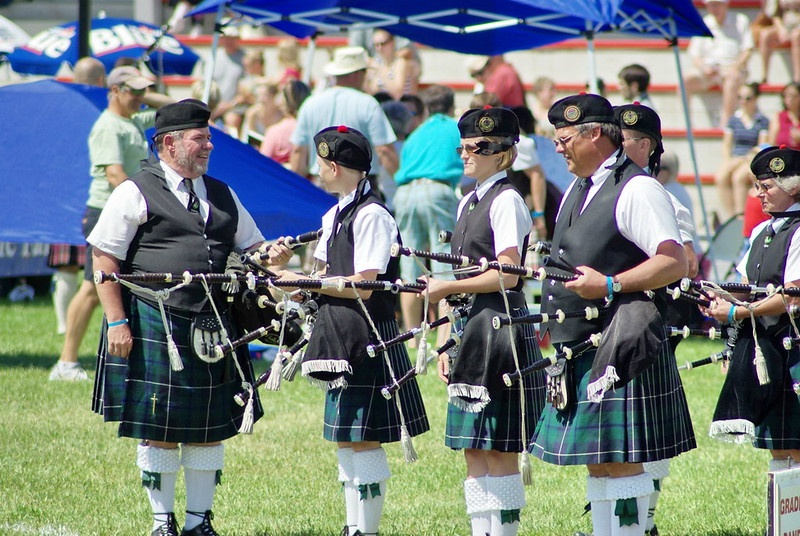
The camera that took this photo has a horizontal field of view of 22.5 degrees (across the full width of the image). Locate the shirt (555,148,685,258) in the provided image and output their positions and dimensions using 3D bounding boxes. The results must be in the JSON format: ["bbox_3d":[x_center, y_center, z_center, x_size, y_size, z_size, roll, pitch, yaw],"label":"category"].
[{"bbox_3d":[1.552,-0.434,14.180,0.348,0.676,0.757,6,6,-35],"label":"shirt"}]

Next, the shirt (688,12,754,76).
[{"bbox_3d":[3.432,-2.439,21.204,0.664,0.680,0.264,1,-12,-5],"label":"shirt"}]

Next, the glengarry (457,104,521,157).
[{"bbox_3d":[0.657,-0.995,14.479,0.363,0.270,0.338,-5,-7,-37],"label":"glengarry"}]

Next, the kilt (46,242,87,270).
[{"bbox_3d":[-2.929,-0.096,17.820,0.377,0.216,0.292,5,4,-20],"label":"kilt"}]

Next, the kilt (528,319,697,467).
[{"bbox_3d":[1.508,0.870,14.418,1.040,1.017,0.888,0,-4,-7],"label":"kilt"}]

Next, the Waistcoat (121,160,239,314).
[{"bbox_3d":[-1.503,-0.202,14.739,0.736,0.984,0.576,-3,-8,-21],"label":"Waistcoat"}]

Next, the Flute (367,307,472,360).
[{"bbox_3d":[0.165,0.446,14.457,0.766,0.105,0.118,-23,28,-6],"label":"Flute"}]

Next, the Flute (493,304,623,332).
[{"bbox_3d":[1.129,0.350,14.134,0.952,0.125,0.116,-5,-6,-12],"label":"Flute"}]

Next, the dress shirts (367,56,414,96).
[{"bbox_3d":[-0.042,-1.877,19.758,0.366,0.472,0.265,-4,0,-28],"label":"dress shirts"}]

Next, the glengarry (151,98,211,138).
[{"bbox_3d":[-1.594,-1.087,14.783,0.410,0.212,0.537,-5,7,-8],"label":"glengarry"}]

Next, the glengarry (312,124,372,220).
[{"bbox_3d":[-0.480,-0.757,14.520,0.512,0.731,0.471,-2,2,4],"label":"glengarry"}]

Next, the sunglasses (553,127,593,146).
[{"bbox_3d":[1.226,-0.929,14.089,0.140,0.056,0.183,-19,19,42],"label":"sunglasses"}]

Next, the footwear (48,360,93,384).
[{"bbox_3d":[-2.724,0.860,16.763,0.353,0.153,0.143,2,4,-4],"label":"footwear"}]

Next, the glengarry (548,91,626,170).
[{"bbox_3d":[1.298,-0.939,14.083,0.544,0.747,0.455,2,5,20],"label":"glengarry"}]

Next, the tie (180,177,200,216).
[{"bbox_3d":[-1.491,-0.521,14.561,0.079,0.314,0.089,-6,-19,-7],"label":"tie"}]

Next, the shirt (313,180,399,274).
[{"bbox_3d":[-0.335,-0.277,14.761,0.369,0.631,0.687,9,-7,-39],"label":"shirt"}]

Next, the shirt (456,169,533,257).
[{"bbox_3d":[0.719,-0.300,14.659,0.462,0.757,0.890,0,2,-14],"label":"shirt"}]

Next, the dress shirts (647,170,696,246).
[{"bbox_3d":[1.887,-0.494,14.746,0.345,0.464,0.627,11,19,23],"label":"dress shirts"}]

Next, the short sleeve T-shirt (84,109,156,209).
[{"bbox_3d":[-2.180,-0.858,15.959,0.426,0.745,0.694,6,13,6],"label":"short sleeve T-shirt"}]

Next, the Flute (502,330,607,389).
[{"bbox_3d":[1.097,0.642,14.156,0.711,0.099,0.099,-27,35,-4],"label":"Flute"}]

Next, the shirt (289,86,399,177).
[{"bbox_3d":[-0.503,-1.261,17.863,0.878,0.739,0.456,3,23,5],"label":"shirt"}]
